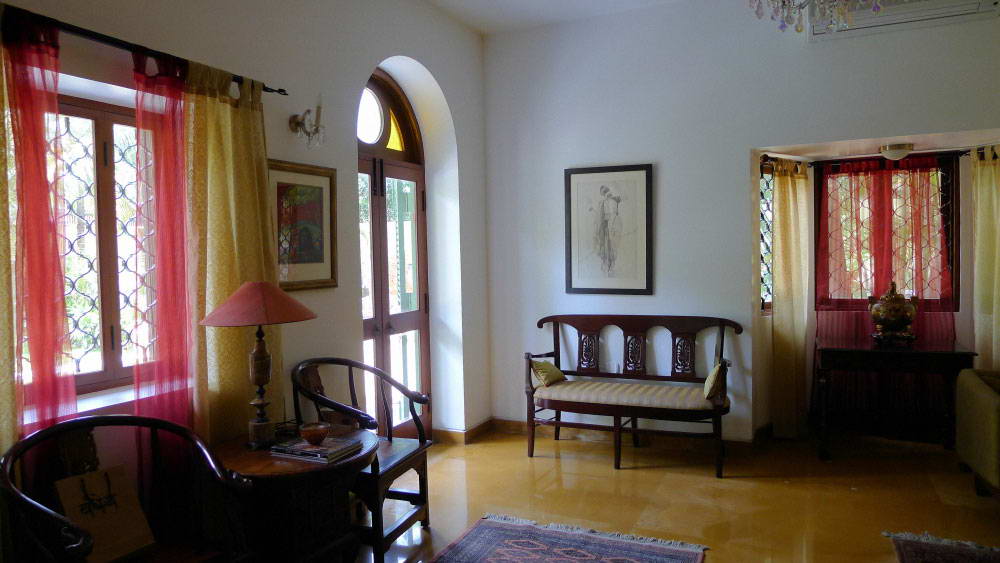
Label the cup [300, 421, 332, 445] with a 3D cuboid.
[{"bbox_3d":[-1.303,1.057,4.841,0.154,0.097,0.149,-2,5,0],"label":"cup"}]

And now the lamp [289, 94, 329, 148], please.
[{"bbox_3d":[-1.543,-1.312,5.576,0.231,0.397,0.230,8,14,-21],"label":"lamp"}]

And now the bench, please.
[{"bbox_3d":[1.362,1.127,6.684,1.532,0.981,0.572,0,-3,20],"label":"bench"}]

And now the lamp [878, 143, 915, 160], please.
[{"bbox_3d":[3.667,-1.176,6.452,0.205,0.126,0.199,1,2,4],"label":"lamp"}]

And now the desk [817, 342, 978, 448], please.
[{"bbox_3d":[3.750,0.978,6.686,1.535,1.079,0.982,-2,-6,24],"label":"desk"}]

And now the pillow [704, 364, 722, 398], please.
[{"bbox_3d":[1.969,0.899,6.369,0.147,0.327,0.315,1,4,32],"label":"pillow"}]
